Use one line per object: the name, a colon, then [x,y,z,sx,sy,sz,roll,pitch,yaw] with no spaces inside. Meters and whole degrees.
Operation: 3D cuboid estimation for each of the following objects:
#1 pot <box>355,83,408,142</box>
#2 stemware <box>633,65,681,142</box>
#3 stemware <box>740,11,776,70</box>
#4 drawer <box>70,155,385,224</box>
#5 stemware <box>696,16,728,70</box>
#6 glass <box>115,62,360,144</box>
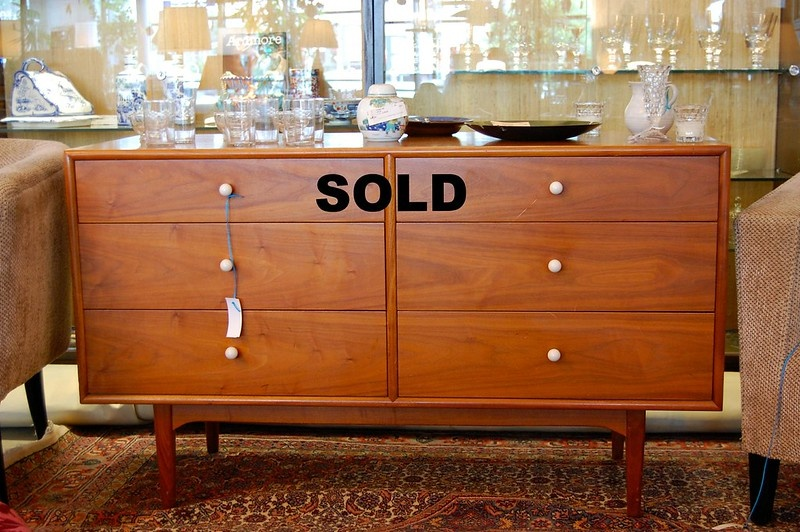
pot: [-0.047,-0.453,1.892,0.192,0.144,0.189,0,4,0]
stemware: [0.719,-0.466,1.805,0.152,0.200,0.137,-7,5,27]
stemware: [1.407,-0.867,2.385,0.126,0.212,0.062,-1,18,7]
drawer: [-0.482,-0.207,1.710,0.874,0.179,0.047,-1,19,4]
stemware: [1.227,-0.873,2.408,0.098,0.210,0.049,3,19,18]
glass: [-0.614,-0.565,2.156,0.918,0.268,0.943,-2,14,-3]
